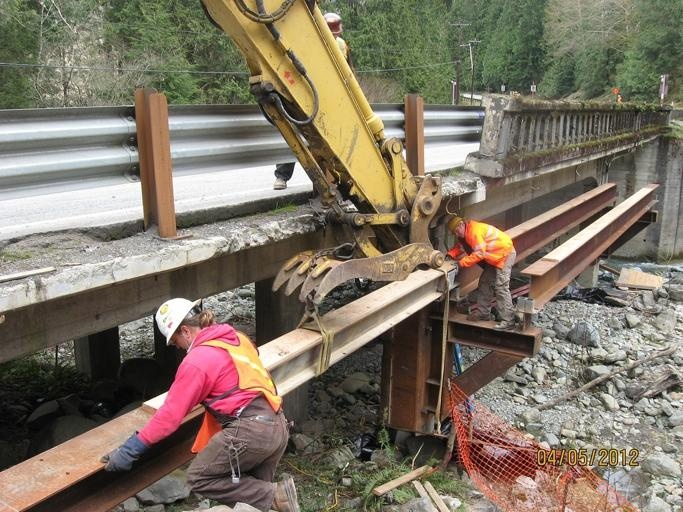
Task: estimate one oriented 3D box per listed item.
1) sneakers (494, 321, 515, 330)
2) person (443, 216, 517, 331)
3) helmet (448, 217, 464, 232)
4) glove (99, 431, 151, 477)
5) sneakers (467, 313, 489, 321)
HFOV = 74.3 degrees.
[{"bbox_3d":[2.135,0.897,5.930,0.254,0.110,0.115,2,6,-5],"label":"sneakers"},{"bbox_3d":[1.917,0.225,6.164,0.889,1.552,0.955,2,20,16],"label":"person"},{"bbox_3d":[1.524,-0.419,6.034,0.172,0.168,0.212,38,6,7],"label":"helmet"},{"bbox_3d":[-1.252,1.164,2.686,0.273,0.113,0.180,-30,75,-28],"label":"glove"},{"bbox_3d":[1.886,0.823,6.218,0.320,0.139,0.113,3,3,3],"label":"sneakers"}]
